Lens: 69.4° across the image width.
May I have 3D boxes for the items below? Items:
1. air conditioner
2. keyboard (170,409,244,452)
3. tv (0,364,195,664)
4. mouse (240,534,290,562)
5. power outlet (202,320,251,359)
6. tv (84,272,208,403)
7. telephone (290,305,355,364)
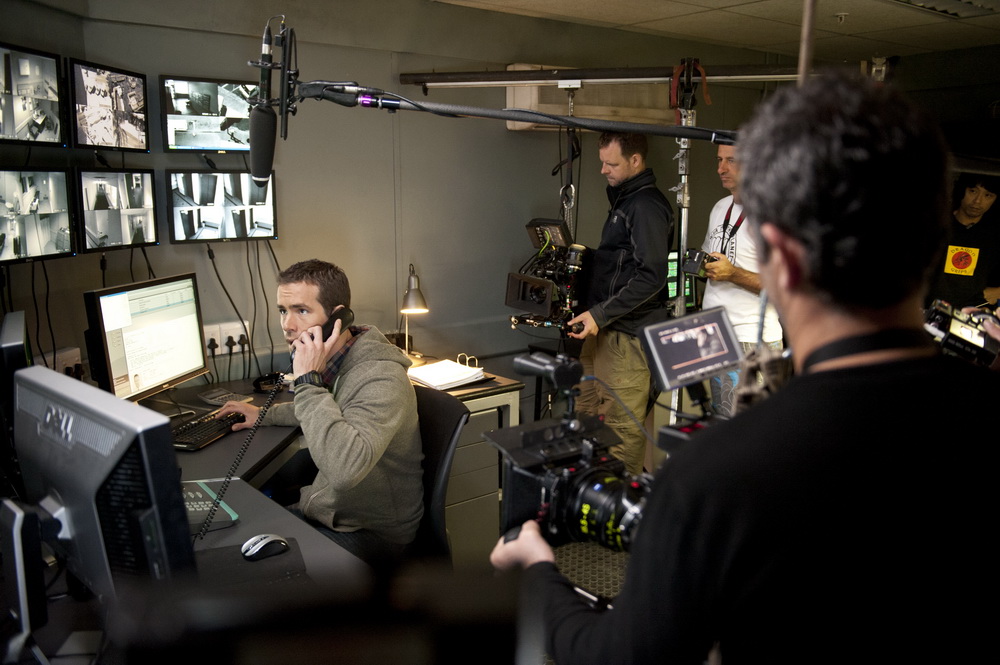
[{"bbox_3d":[0.619,-1.410,4.332,1.115,0.299,0.177,-14,7,-27],"label":"air conditioner"},{"bbox_3d":[-1.056,0.359,2.616,0.186,0.070,0.342,8,13,14],"label":"keyboard"},{"bbox_3d":[-0.814,0.373,1.419,0.531,0.436,0.195,17,23,41],"label":"tv"},{"bbox_3d":[-0.619,0.555,1.890,0.059,0.035,0.106,3,1,43],"label":"mouse"},{"bbox_3d":[-1.343,0.015,3.538,0.145,0.177,0.274,-2,0,43],"label":"power outlet"},{"bbox_3d":[-1.336,0.024,2.716,0.089,0.369,0.520,4,9,16],"label":"tv"},{"bbox_3d":[-0.605,-0.003,2.453,0.212,0.049,0.060,-41,11,-20],"label":"telephone"}]
